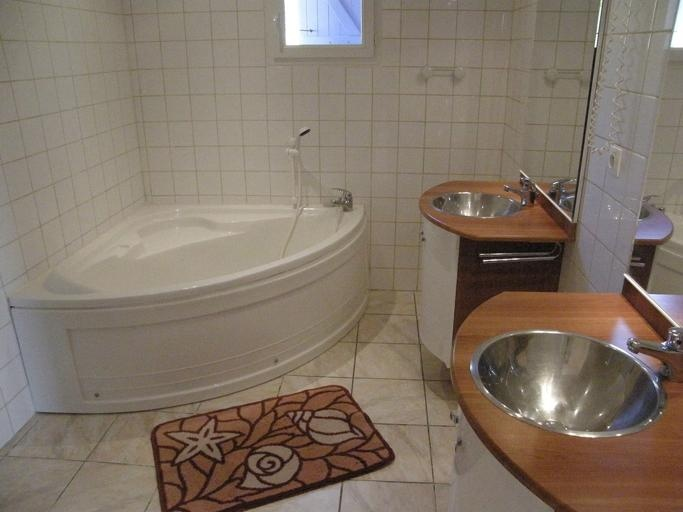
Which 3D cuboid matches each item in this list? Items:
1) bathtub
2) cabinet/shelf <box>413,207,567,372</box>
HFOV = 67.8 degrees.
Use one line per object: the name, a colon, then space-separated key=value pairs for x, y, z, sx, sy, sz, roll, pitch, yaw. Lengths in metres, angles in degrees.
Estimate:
bathtub: x=-0.848 y=0.051 z=3.368 sx=1.825 sy=0.370 sz=1.422 roll=-2 pitch=26 yaw=0
cabinet/shelf: x=0.709 y=0.125 z=2.370 sx=0.364 sy=0.673 sz=0.689 roll=4 pitch=29 yaw=7
